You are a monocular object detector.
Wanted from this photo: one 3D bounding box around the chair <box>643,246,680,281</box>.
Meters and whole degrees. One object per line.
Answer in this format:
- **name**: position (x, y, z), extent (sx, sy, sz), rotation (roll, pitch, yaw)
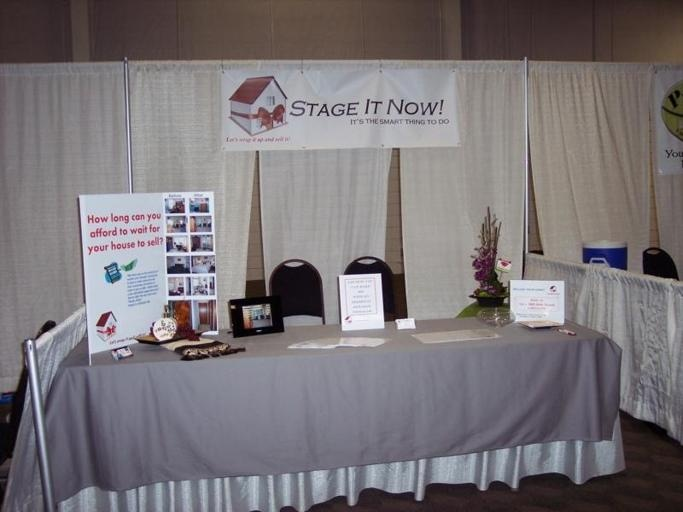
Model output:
- **chair**: position (3.117, 0.073, 6.516), extent (0.239, 0.406, 0.205), rotation (-4, -10, -4)
